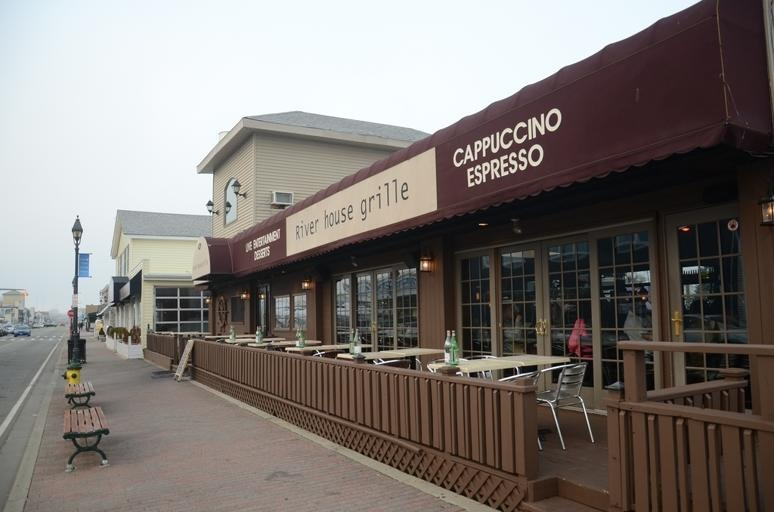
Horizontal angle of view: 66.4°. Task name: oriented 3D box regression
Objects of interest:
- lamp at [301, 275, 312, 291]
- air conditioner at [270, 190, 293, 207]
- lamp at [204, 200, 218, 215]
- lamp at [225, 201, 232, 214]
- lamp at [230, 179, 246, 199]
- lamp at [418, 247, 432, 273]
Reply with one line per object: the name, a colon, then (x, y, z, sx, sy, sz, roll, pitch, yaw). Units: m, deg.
lamp: (-2.377, 0.800, 17.478, 0.191, 0.433, 0.717, -4, 0, -23)
air conditioner: (-3.924, -2.166, 22.157, 0.944, 0.675, 0.489, 5, -6, -33)
lamp: (-7.626, -2.163, 25.866, 0.441, 0.657, 2.032, -3, 0, -15)
lamp: (-6.636, -2.057, 24.614, 0.397, 0.595, 0.426, -2, 3, -13)
lamp: (-5.700, -2.537, 22.776, 0.430, 0.712, 0.974, -3, 0, -19)
lamp: (0.780, 0.080, 12.444, 0.210, 0.465, 0.429, -4, 0, -30)
